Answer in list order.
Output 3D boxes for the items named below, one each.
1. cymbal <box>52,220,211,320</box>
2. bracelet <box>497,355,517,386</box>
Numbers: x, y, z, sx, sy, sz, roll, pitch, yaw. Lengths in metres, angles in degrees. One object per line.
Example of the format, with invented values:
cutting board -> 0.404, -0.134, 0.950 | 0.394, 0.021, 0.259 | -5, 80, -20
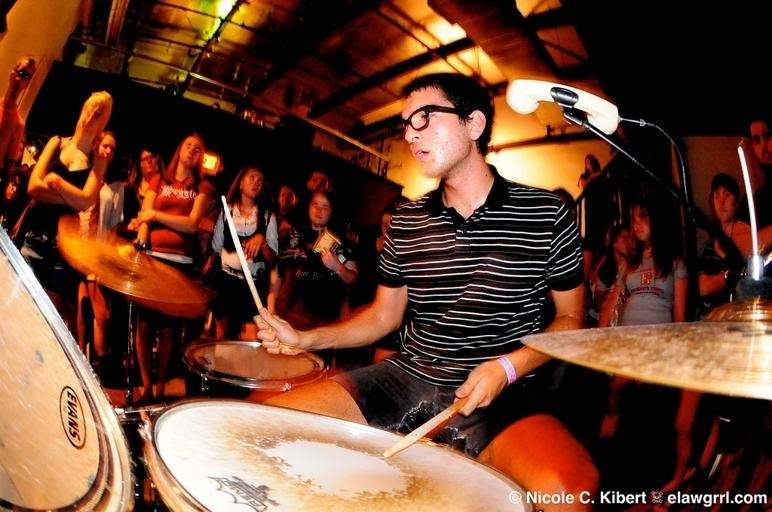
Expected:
cymbal -> -1.280, 0.017, 2.758 | 0.733, 0.161, 0.746 | 41, 10, 38
bracelet -> 0.386, 0.356, 1.662 | 0.019, 0.077, 0.078 | -26, -47, 2
